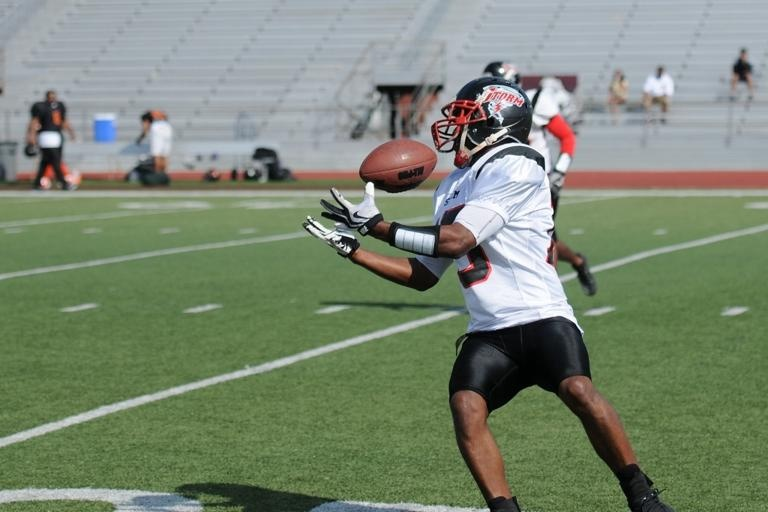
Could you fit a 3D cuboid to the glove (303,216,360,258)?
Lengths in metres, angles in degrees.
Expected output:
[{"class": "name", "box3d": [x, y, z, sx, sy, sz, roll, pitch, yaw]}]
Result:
[{"class": "glove", "box3d": [-0.270, -0.083, 4.557, 0.192, 0.297, 0.122, -50, 2, -24]}]

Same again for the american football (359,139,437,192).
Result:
[{"class": "american football", "box3d": [0.086, -0.509, 4.879, 0.427, 0.256, 0.244, -13, -21, -18]}]

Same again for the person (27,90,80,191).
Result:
[{"class": "person", "box3d": [-5.641, -1.972, 14.200, 0.688, 1.651, 0.953, -7, 14, -21]}]

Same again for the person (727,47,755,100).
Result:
[{"class": "person", "box3d": [5.091, -2.571, 11.872, 0.310, 0.737, 1.613, 3, 13, 22]}]

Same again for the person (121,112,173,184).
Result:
[{"class": "person", "box3d": [-4.327, -2.016, 15.644, 0.766, 1.367, 0.937, -7, 14, -23]}]
